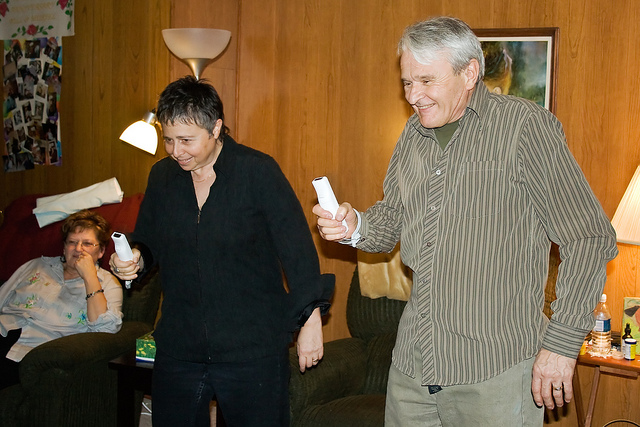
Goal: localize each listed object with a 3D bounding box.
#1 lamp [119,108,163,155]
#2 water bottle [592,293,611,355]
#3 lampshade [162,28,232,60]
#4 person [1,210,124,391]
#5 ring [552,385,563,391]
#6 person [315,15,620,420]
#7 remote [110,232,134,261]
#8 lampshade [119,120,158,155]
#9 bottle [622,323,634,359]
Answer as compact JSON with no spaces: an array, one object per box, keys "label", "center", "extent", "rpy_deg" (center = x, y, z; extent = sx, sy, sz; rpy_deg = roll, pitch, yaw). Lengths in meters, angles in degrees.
[{"label":"lamp","center":[-1.181,-0.565,3.786],"extent":[0.439,0.290,0.266],"rpy_deg":[4,4,43]},{"label":"water bottle","center":[1.526,0.614,2.993],"extent":[0.089,0.258,0.167],"rpy_deg":[2,3,31]},{"label":"lampshade","center":[-0.843,-1.130,3.755],"extent":[0.450,0.199,0.454],"rpy_deg":[-7,14,-33]},{"label":"person","center":[-1.587,0.459,3.338],"extent":[0.822,0.936,0.537],"rpy_deg":[0,3,-4]},{"label":"ring","center":[0.810,0.589,1.876],"extent":[0.034,0.016,0.019],"rpy_deg":[1,3,0]},{"label":"person","center":[0.557,0.054,2.006],"extent":[0.914,1.529,0.276],"rpy_deg":[2,3,31]},{"label":"remote","center":[-0.822,0.134,2.275],"extent":[0.093,0.116,0.104],"rpy_deg":[1,3,3]},{"label":"lampshade","center":[-1.242,-0.499,3.823],"extent":[0.217,0.150,0.222],"rpy_deg":[34,2,-8]},{"label":"bottle","center":[1.653,0.681,2.977],"extent":[0.044,0.161,0.146],"rpy_deg":[2,3,30]}]
